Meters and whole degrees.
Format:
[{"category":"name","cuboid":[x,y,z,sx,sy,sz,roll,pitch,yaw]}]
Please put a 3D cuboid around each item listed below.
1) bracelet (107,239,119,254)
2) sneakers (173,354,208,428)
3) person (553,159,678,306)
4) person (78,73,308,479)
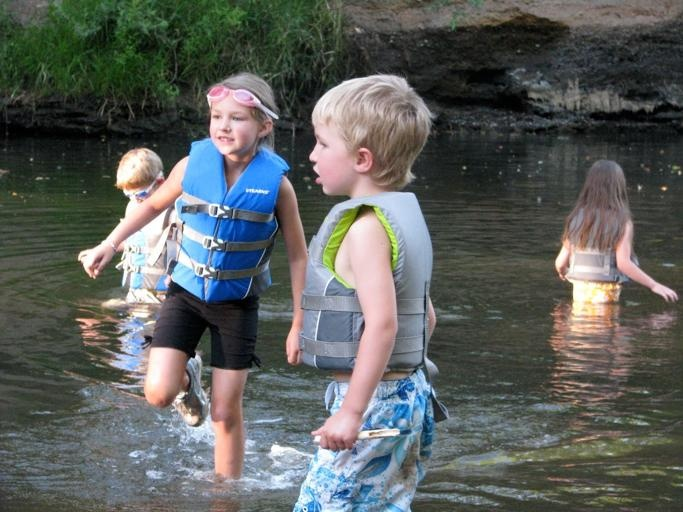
[{"category":"bracelet","cuboid":[-1.722,-0.083,7.966,0.110,0.045,0.088,41,-4,8]},{"category":"sneakers","cuboid":[-1.154,1.005,7.902,0.232,0.539,0.282,-7,-5,36]},{"category":"person","cuboid":[2.612,-0.261,10.206,0.957,1.347,0.299,4,6,32]},{"category":"person","cuboid":[-0.949,0.125,7.632,1.438,2.952,0.955,2,6,3]}]
